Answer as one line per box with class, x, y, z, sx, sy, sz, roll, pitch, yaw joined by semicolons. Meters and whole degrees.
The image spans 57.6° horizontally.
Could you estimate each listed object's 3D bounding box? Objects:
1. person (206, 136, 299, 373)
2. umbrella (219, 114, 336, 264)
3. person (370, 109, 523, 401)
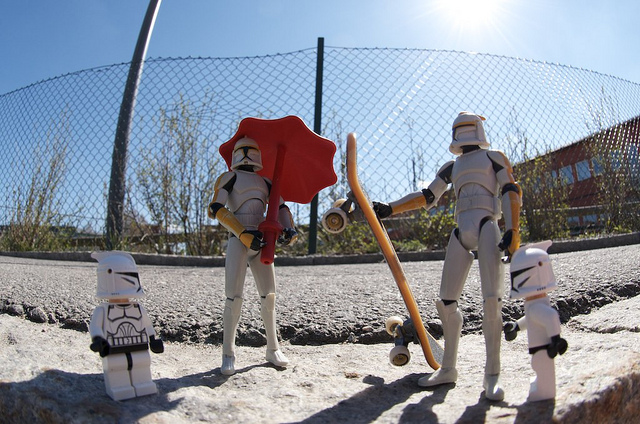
person;-0.588;0.349;5.010;0.710;1.879;1.137;0;-7;-10
umbrella;-0.316;-0.069;4.810;0.974;1.201;1.117;-2;-47;4
person;1.117;0.287;4.514;0.884;2.157;0.696;-4;-7;22
